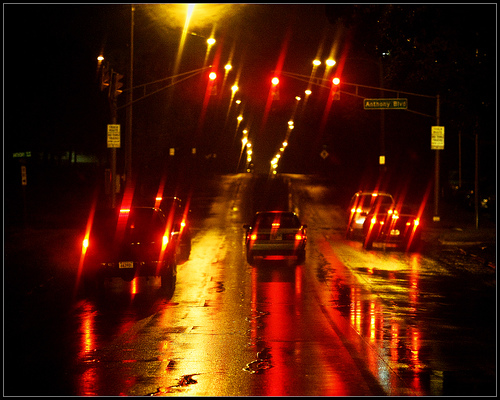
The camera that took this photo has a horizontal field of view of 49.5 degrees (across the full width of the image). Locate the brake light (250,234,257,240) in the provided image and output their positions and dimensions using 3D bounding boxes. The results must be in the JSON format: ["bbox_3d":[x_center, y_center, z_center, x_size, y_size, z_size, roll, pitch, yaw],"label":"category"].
[{"bbox_3d":[0.163,1.404,20.294,0.213,0.208,0.032,8,0,16],"label":"brake light"}]

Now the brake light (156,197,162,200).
[{"bbox_3d":[-3.757,-0.036,22.462,0.211,0.108,0.375,9,0,-18],"label":"brake light"}]

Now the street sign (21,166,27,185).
[{"bbox_3d":[-11.785,-1.256,28.313,0.278,0.977,0.560,7,0,-25],"label":"street sign"}]

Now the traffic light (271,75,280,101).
[{"bbox_3d":[1.422,-6.193,29.752,0.441,1.363,0.645,7,0,0],"label":"traffic light"}]

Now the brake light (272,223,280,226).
[{"bbox_3d":[1.016,0.962,20.917,0.283,0.099,0.553,9,0,0],"label":"brake light"}]

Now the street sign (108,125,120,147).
[{"bbox_3d":[-6.526,-3.057,26.043,0.655,1.065,0.387,7,-1,-34],"label":"street sign"}]

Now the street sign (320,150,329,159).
[{"bbox_3d":[8.955,-5.434,64.882,0.689,1.306,0.759,-1,5,5],"label":"street sign"}]

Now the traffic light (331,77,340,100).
[{"bbox_3d":[4.824,-6.256,30.470,0.441,1.361,2.317,7,-1,6],"label":"traffic light"}]

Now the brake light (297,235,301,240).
[{"bbox_3d":[1.843,1.407,20.249,0.158,0.158,0.018,8,-1,-25],"label":"brake light"}]

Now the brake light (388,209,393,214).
[{"bbox_3d":[6.497,0.565,25.082,0.214,0.225,0.718,8,-1,15],"label":"brake light"}]

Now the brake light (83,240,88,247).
[{"bbox_3d":[-4.426,1.180,14.650,0.204,0.179,0.051,8,1,45],"label":"brake light"}]

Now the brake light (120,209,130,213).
[{"bbox_3d":[-3.398,0.307,14.775,0.285,0.115,0.182,9,-1,-28],"label":"brake light"}]

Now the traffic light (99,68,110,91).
[{"bbox_3d":[-7.203,-6.007,26.918,0.319,0.266,1.164,0,-18,-9],"label":"traffic light"}]

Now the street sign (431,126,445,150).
[{"bbox_3d":[10.756,-3.576,31.054,0.548,1.313,0.931,7,-1,32],"label":"street sign"}]

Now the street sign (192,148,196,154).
[{"bbox_3d":[-8.272,-7.298,80.514,0.607,0.797,0.654,-1,-1,-8],"label":"street sign"}]

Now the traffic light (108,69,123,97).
[{"bbox_3d":[-6.783,-5.864,27.577,0.599,1.439,2.447,7,0,-16],"label":"traffic light"}]

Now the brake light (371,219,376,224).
[{"bbox_3d":[5.647,0.994,24.815,0.268,0.205,0.073,8,1,44],"label":"brake light"}]

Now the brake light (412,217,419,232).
[{"bbox_3d":[7.575,1.201,24.756,0.093,0.601,0.348,6,-1,45],"label":"brake light"}]

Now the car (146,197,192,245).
[{"bbox_3d":[-3.272,0.721,22.760,1.105,1.182,2.224,0,-9,4],"label":"car"}]

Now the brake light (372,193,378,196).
[{"bbox_3d":[6.924,-0.253,29.989,0.327,0.138,0.110,9,0,6],"label":"brake light"}]

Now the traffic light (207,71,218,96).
[{"bbox_3d":[-1.991,-6.379,29.542,0.514,1.406,1.892,7,0,-8],"label":"traffic light"}]

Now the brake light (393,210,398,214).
[{"bbox_3d":[6.761,0.578,25.128,0.215,0.190,0.577,8,-1,17],"label":"brake light"}]
